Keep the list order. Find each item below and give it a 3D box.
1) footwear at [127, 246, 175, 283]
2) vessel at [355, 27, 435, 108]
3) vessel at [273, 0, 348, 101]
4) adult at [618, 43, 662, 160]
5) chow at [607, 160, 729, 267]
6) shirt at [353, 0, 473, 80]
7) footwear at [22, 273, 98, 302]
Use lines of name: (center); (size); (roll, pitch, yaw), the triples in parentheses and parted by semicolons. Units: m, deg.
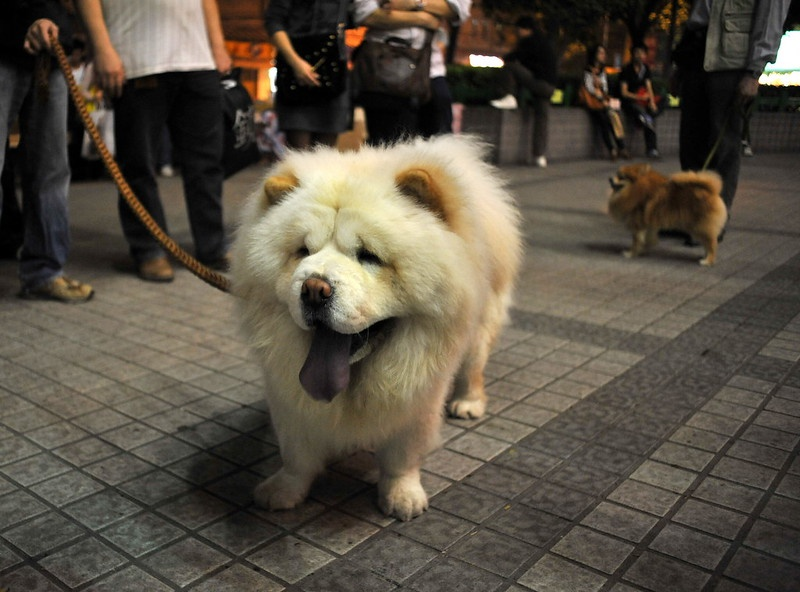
footwear: (-2.050, -0.247, 5.938); (0.182, 0.218, 0.528); (-6, 8, -32)
vessel: (0.034, -2.078, 6.167); (0.618, 0.583, 0.618); (31, 46, 17)
vessel: (-0.592, -2.060, 6.169); (0.532, 0.811, 0.801); (0, 30, 3)
adult: (2.271, -1.821, 6.822); (0.358, 1.109, 0.821); (6, 20, 20)
chow: (2.516, -0.790, 6.689); (1.088, 0.852, 0.597); (10, 19, 26)
shirt: (0.226, -2.280, 6.359); (0.719, 0.656, 1.470); (7, 21, 23)
footwear: (-2.535, -0.088, 5.315); (0.442, 0.192, 0.212); (-1, 16, -13)
